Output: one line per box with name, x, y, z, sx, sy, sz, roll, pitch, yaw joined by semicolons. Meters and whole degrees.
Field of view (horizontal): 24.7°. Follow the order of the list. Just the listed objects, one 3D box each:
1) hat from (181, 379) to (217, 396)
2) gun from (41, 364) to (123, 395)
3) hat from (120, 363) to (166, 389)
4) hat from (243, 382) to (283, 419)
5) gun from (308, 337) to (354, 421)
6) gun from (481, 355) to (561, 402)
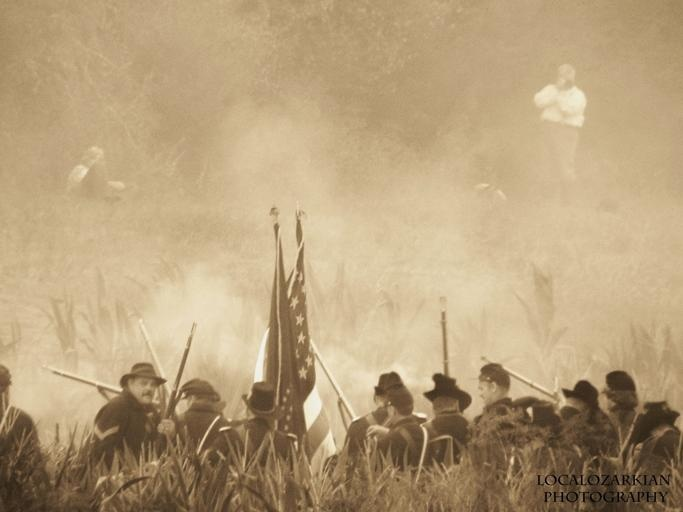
hat;-1.638;1.556;18.027;0.280;0.146;0.203;10;-13;3
gun;-2.960;1.480;18.155;0.751;0.059;0.080;21;-25;7
hat;-2.284;1.378;18.120;0.377;0.145;0.326;5;-14;-1
hat;-0.893;1.684;17.937;0.303;0.395;0.212;7;-62;-23
gun;-0.114;1.497;18.084;0.077;1.063;0.079;-26;-8;-34
gun;2.084;1.469;18.057;0.732;0.121;0.105;30;-54;8
